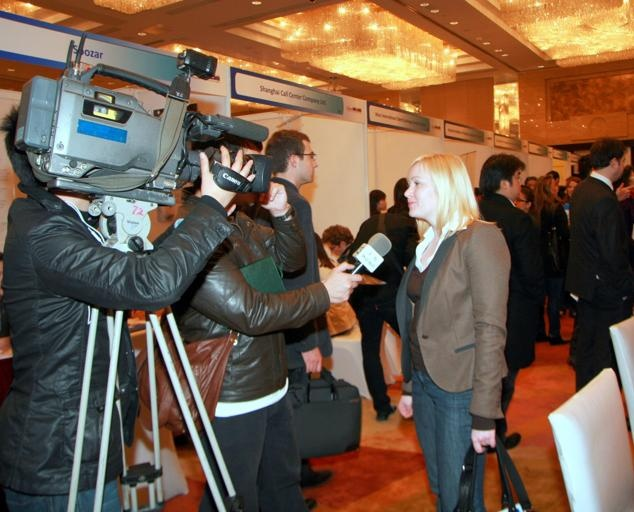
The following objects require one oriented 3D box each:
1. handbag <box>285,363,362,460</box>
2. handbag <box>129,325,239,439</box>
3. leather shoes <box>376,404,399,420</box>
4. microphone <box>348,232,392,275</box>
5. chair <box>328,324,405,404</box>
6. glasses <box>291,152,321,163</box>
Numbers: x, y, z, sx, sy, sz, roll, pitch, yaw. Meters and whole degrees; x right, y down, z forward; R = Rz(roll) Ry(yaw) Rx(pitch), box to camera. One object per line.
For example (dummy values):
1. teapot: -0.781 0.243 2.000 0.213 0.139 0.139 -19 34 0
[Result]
1. handbag: 0.037 0.850 2.634 0.382 0.424 0.222 3 5 -2
2. handbag: -0.425 0.415 1.615 0.318 0.324 0.183 -28 -6 -3
3. leather shoes: 0.553 1.223 3.895 0.066 0.089 0.205 4 18 33
4. microphone: 0.209 0.000 1.866 0.125 0.168 0.278 4 6 10
5. chair: 0.443 0.901 4.304 0.600 0.453 0.652 -3 2 32
6. glasses: -0.067 -0.555 2.750 0.034 0.049 0.173 8 7 41
